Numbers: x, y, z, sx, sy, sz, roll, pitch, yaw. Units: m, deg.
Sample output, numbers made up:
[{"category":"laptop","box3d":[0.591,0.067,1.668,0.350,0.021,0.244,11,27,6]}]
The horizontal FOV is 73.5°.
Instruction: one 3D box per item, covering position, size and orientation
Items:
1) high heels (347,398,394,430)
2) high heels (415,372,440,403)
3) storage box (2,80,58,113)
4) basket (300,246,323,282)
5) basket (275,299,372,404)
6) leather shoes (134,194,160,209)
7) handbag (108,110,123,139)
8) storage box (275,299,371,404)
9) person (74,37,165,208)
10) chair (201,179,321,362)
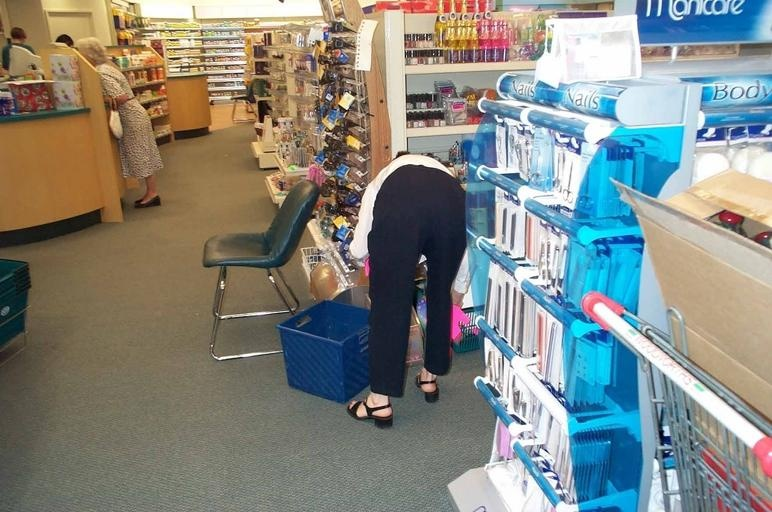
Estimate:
[{"category":"high heels","box3d":[-0.080,0.885,2.982,0.245,0.108,0.126,19,15,20]},{"category":"high heels","box3d":[0.261,0.800,3.121,0.085,0.082,0.210,-4,27,-7]},{"category":"storage box","box3d":[-3.854,-1.745,5.639,0.463,0.317,0.446,0,22,-12]},{"category":"basket","box3d":[-0.641,0.037,4.395,0.207,0.311,0.114,-27,55,-19]},{"category":"basket","box3d":[-0.322,0.572,3.360,0.592,0.545,0.597,10,21,29]},{"category":"leather shoes","box3d":[-3.186,-0.710,6.897,0.227,0.079,0.223,-5,19,-18]},{"category":"handbag","box3d":[-3.255,-1.594,6.226,0.085,0.338,0.230,-10,-8,-23]},{"category":"storage box","box3d":[-0.326,0.553,3.353,0.591,0.543,0.597,10,21,29]},{"category":"person","box3d":[-3.337,-1.687,6.667,0.748,2.075,0.566,18,32,39]},{"category":"chair","box3d":[-0.917,0.048,3.765,0.834,1.131,0.713,-3,16,-21]}]
